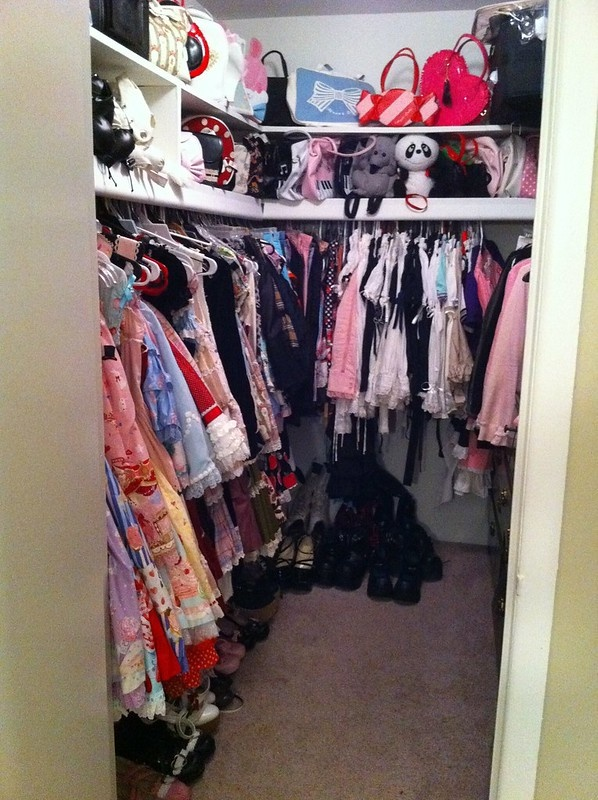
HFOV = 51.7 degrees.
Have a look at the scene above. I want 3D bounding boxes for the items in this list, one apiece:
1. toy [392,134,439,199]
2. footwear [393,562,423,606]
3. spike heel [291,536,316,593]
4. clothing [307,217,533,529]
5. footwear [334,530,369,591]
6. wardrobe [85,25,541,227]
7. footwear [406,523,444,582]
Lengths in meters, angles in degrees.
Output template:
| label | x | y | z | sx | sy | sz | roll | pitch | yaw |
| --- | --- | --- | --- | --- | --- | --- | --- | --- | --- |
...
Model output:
| label | x | y | z | sx | sy | sz | roll | pitch | yaw |
| --- | --- | --- | --- | --- | --- | --- | --- | --- | --- |
| toy | 0.460 | -0.912 | 2.405 | 0.156 | 0.277 | 0.127 | -2 | 38 | 10 |
| footwear | 0.450 | 0.759 | 2.548 | 0.066 | 0.074 | 0.178 | 0 | 18 | 7 |
| spike heel | 0.022 | 0.701 | 2.757 | 0.135 | 0.127 | 0.380 | -5 | 3 | 5 |
| clothing | 0.454 | -0.260 | 2.450 | 0.684 | 0.824 | 0.275 | 1 | 10 | 9 |
| footwear | 0.236 | 0.701 | 2.711 | 0.081 | 0.118 | 0.267 | 3 | 26 | 15 |
| wardrobe | -0.092 | -0.740 | 2.040 | 1.670 | 0.352 | 0.853 | -11 | 15 | -44 |
| footwear | 0.548 | 0.671 | 2.690 | 0.092 | 0.114 | 0.290 | -8 | 41 | 2 |
